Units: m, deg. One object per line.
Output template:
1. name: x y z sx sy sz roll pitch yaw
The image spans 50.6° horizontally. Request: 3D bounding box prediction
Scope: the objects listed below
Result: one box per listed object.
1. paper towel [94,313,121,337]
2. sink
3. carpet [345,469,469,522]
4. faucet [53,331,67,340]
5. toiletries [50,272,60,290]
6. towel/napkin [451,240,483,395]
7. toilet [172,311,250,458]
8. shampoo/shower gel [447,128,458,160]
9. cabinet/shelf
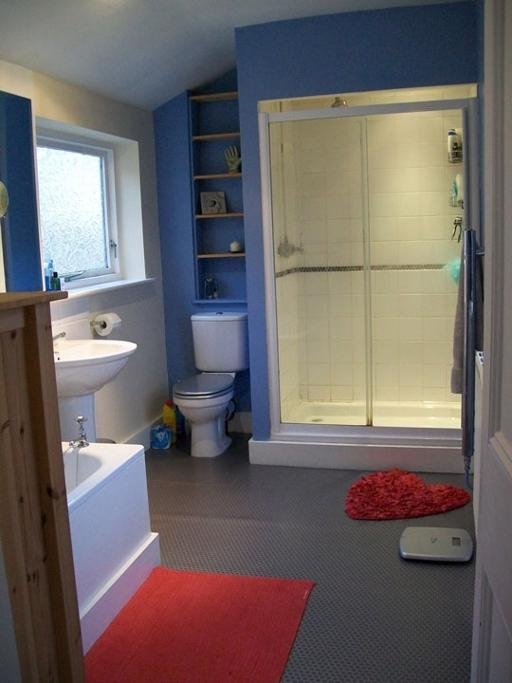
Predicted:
1. paper towel: -0.876 -0.092 3.149 0.156 0.136 0.125 -3 6 -16
2. sink: -0.801 0.092 2.490 0.370 0.277 0.390 7 9 21
3. carpet: 0.779 0.798 2.831 0.643 0.066 0.505 -1 7 5
4. faucet: -1.010 -0.032 2.763 0.025 0.038 0.113 2 7 31
5. toiletries: -1.051 -0.318 2.811 0.046 0.094 0.126 -4 7 -22
6. towel/napkin: 0.785 -0.043 2.201 0.120 0.894 0.340 0 6 17
7. toilet: -0.303 0.299 3.615 0.385 0.858 0.753 0 8 16
8. shampoo/shower gel: 1.084 -1.064 2.944 0.062 0.165 0.048 1 6 21
9. cabinet/shelf: -0.275 -1.006 3.881 0.403 1.543 0.251 0 6 12
